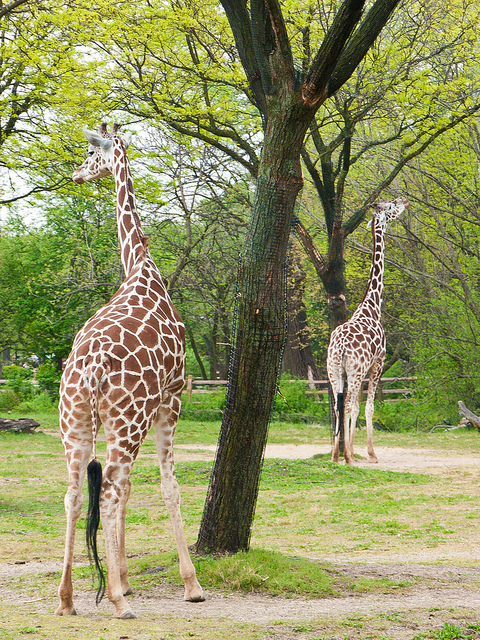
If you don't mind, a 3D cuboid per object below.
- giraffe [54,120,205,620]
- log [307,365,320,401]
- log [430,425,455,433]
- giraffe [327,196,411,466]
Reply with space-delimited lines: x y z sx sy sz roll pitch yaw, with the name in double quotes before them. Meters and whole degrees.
"giraffe" -1.028 0.597 10.647 1.252 4.188 1.631 3 -5 6
"log" 2.182 1.783 32.628 0.232 1.009 0.180 8 -38 -38
"log" 4.708 2.500 25.646 0.546 0.156 1.113 2 -5 9
"giraffe" 2.039 0.087 18.277 0.955 4.511 1.586 2 -5 20
